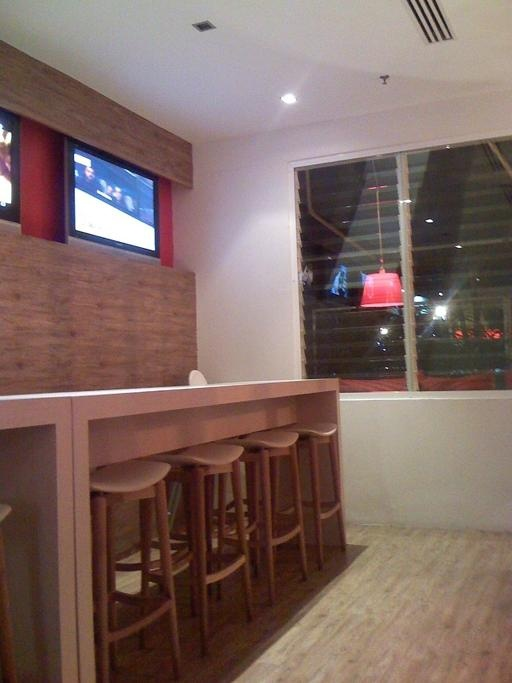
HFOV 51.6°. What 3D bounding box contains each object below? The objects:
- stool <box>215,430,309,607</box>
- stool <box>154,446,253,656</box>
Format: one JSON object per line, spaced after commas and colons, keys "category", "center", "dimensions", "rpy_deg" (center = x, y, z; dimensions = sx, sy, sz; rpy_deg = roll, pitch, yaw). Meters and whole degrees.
{"category": "stool", "center": [0.016, 0.819, 2.571], "dimensions": [0.391, 0.722, 0.424], "rpy_deg": [-7, -9, 18]}
{"category": "stool", "center": [-0.174, 0.732, 1.978], "dimensions": [0.340, 0.600, 0.340], "rpy_deg": [-5, -3, 8]}
